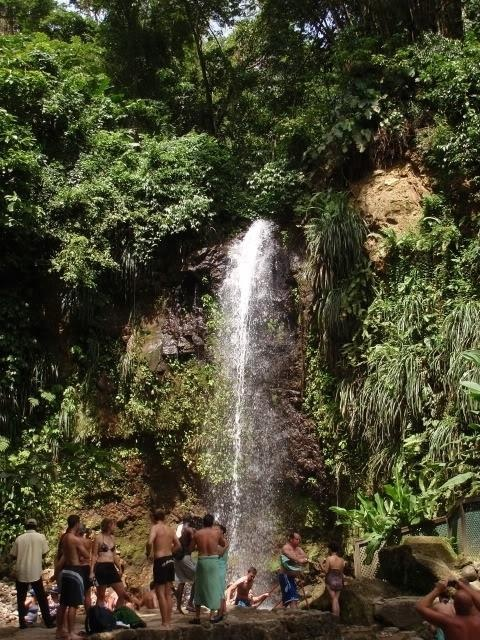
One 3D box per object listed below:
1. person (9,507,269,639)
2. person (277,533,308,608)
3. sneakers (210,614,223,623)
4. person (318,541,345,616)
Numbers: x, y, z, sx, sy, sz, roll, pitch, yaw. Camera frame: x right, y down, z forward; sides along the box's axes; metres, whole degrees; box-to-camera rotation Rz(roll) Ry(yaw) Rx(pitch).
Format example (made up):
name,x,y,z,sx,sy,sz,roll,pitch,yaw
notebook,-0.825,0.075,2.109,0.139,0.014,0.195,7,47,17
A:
name,x,y,z,sx,sy,sz,roll,pitch,yaw
person,-1.074,2.556,6.841,1.724,1.107,0.857,-8,3,-13
person,0.629,3.024,7.922,0.350,0.606,0.715,-7,3,1
sneakers,-0.228,3.011,6.716,0.042,0.052,0.121,2,-2,13
person,1.062,2.902,7.456,0.243,0.479,0.704,-6,3,5
